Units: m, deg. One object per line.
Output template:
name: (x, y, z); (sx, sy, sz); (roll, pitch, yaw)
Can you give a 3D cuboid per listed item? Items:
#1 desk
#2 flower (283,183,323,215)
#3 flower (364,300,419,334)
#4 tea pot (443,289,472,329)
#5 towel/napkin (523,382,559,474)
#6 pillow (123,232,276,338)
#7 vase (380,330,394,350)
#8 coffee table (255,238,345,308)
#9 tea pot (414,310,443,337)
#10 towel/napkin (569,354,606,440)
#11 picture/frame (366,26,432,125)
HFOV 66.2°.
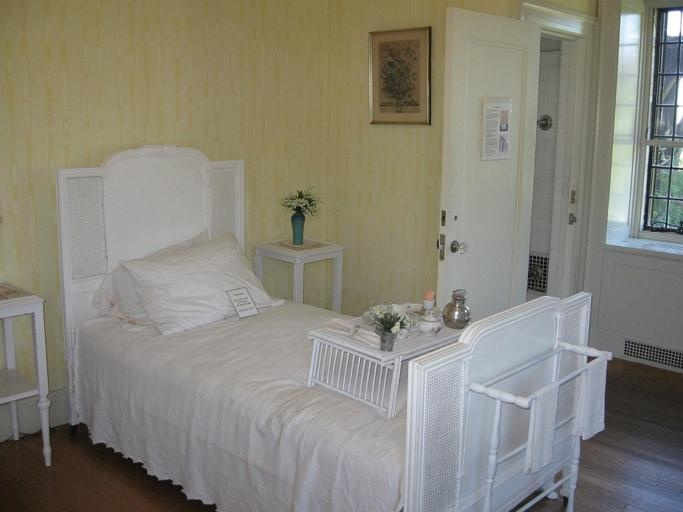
desk: (0.136, 0.534, 2.691); (0.457, 0.318, 0.659); (9, 11, 43)
flower: (-0.354, -0.491, 4.666); (0.267, 0.230, 0.305); (6, 11, 24)
flower: (0.250, 0.316, 2.642); (0.169, 0.110, 0.171); (0, 8, 1)
tea pot: (0.645, 0.304, 2.941); (0.147, 0.220, 0.157); (4, 10, -1)
towel/napkin: (0.836, 0.735, 2.181); (0.186, 0.325, 0.035); (4, -4, -27)
pillow: (-1.017, 0.205, 3.767); (1.003, 0.281, 1.029); (-6, 28, -24)
vase: (0.220, 0.408, 2.548); (0.068, 0.099, 0.069); (0, 14, 1)
coffee table: (-0.332, 0.114, 4.755); (0.584, 0.887, 0.643); (-12, 18, -43)
tea pot: (0.463, 0.355, 2.786); (0.111, 0.093, 0.115); (0, 14, 0)
towel/napkin: (1.168, 0.652, 2.431); (0.087, 0.390, 0.248); (13, 19, 43)
picture/frame: (0.482, -1.494, 4.251); (0.711, 0.989, 0.059); (11, 18, 44)
